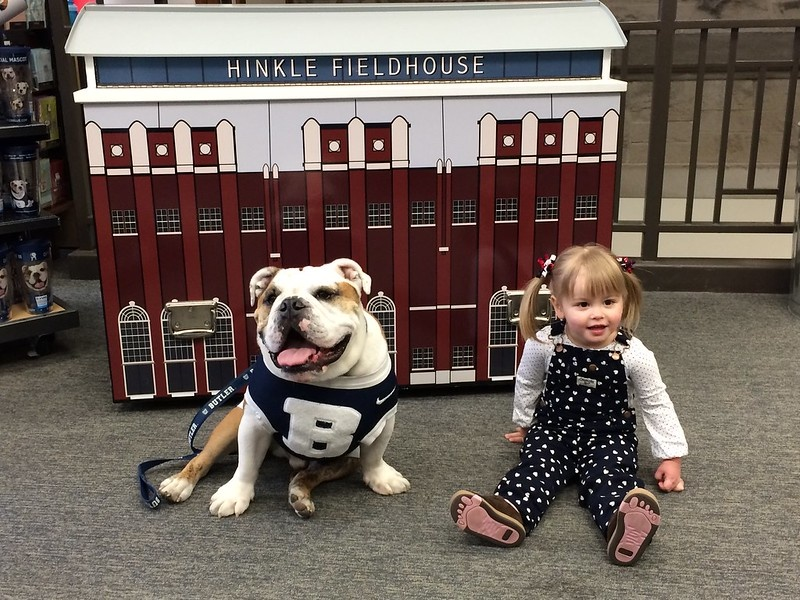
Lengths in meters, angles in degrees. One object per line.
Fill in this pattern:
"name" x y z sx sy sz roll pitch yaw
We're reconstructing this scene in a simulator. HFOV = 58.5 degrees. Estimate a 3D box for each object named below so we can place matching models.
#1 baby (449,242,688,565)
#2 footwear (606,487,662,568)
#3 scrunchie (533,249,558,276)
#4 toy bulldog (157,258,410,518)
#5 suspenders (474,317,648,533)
"baby" 0.510 0.250 2.036 0.561 0.706 0.923 2 11 15
"footwear" 0.585 0.565 1.827 0.109 0.213 0.077 25 26 12
"scrunchie" 0.473 -0.125 2.320 0.037 0.091 0.071 18 -10 -23
"toy bulldog" -0.308 0.210 2.033 0.647 0.666 0.526 3 10 11
"suspenders" 0.542 0.361 2.167 0.439 0.342 0.821 2 19 22
